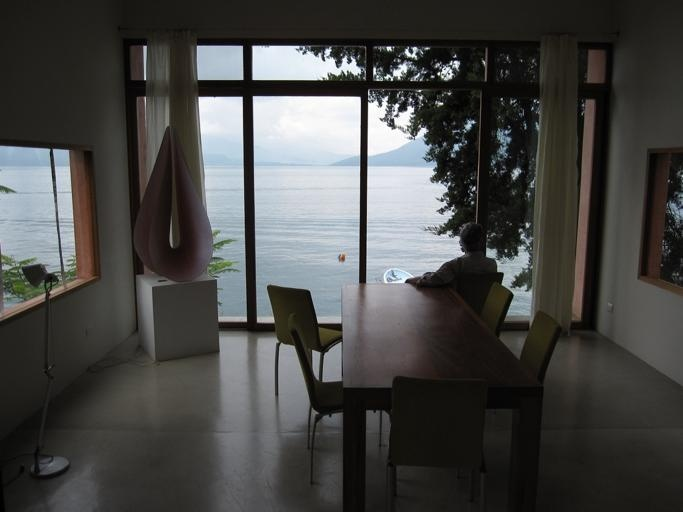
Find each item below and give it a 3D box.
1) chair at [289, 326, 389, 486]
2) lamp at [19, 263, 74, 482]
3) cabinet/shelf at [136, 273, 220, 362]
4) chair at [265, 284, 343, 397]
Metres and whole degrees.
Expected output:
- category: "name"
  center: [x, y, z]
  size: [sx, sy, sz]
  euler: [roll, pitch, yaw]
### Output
- category: "chair"
  center: [0.055, 0.925, 4.057]
  size: [0.736, 1.340, 0.737]
  euler: [3, 30, 14]
- category: "lamp"
  center: [-2.253, 0.701, 4.116]
  size: [0.319, 1.438, 1.157]
  euler: [-7, 16, -27]
- category: "cabinet/shelf"
  center: [-1.726, 0.603, 5.908]
  size: [0.785, 0.878, 0.808]
  euler: [-2, 1, -32]
- category: "chair"
  center: [-0.268, 0.722, 4.760]
  size: [0.523, 1.076, 0.599]
  euler: [9, 17, 37]
